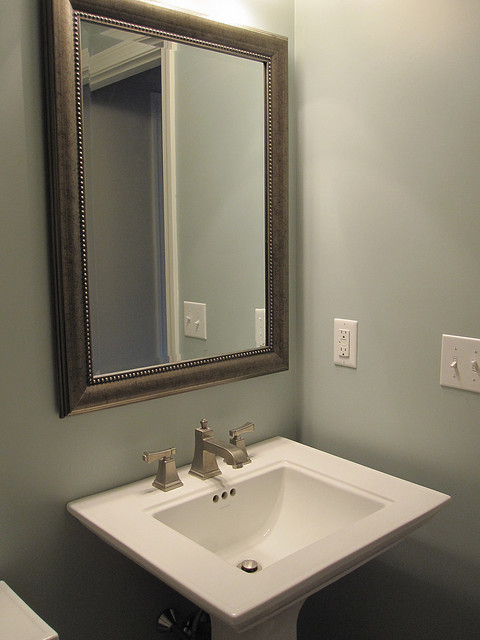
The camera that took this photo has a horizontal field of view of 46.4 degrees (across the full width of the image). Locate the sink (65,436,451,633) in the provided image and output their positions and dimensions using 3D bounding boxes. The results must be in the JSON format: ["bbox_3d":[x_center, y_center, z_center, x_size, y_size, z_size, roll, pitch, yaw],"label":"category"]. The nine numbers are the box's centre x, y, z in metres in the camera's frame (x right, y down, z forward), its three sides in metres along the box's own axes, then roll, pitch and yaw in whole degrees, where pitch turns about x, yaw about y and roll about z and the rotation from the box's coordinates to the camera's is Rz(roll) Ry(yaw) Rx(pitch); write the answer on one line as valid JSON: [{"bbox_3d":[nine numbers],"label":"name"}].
[{"bbox_3d":[0.045,0.438,1.158,0.637,0.181,0.503,-10,12,-40],"label":"sink"}]

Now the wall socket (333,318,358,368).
[{"bbox_3d":[0.271,0.058,1.444,0.009,0.119,0.075,-8,11,-36],"label":"wall socket"}]
